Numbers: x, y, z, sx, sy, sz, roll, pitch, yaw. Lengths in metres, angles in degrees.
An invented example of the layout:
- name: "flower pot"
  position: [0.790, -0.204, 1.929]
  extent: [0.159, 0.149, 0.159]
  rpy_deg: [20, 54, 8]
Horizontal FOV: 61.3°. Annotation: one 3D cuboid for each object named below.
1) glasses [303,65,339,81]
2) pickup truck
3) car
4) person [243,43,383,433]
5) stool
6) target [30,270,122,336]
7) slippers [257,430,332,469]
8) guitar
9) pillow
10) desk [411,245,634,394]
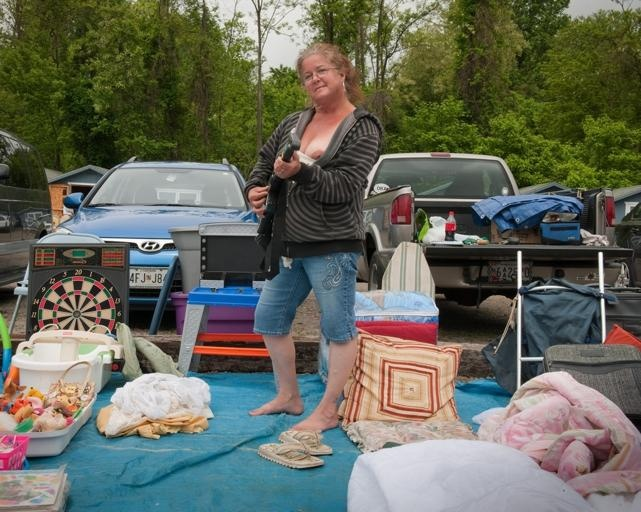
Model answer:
- name: "glasses"
  position: [-0.007, -1.076, 3.207]
  extent: [0.207, 0.086, 0.108]
  rpy_deg: [1, 6, 6]
- name: "pickup truck"
  position: [1.408, -0.392, 5.824]
  extent: [1.801, 1.124, 3.247]
  rpy_deg: [0, 5, -4]
- name: "car"
  position: [-1.761, -0.537, 5.971]
  extent: [1.516, 1.189, 2.493]
  rpy_deg: [0, -4, -9]
- name: "person"
  position: [-0.035, -0.118, 3.315]
  extent: [0.743, 2.341, 0.766]
  rpy_deg: [-3, 6, -29]
- name: "stool"
  position: [-0.714, 0.540, 4.341]
  extent: [0.771, 0.635, 0.726]
  rpy_deg: [2, -4, -3]
- name: "target"
  position: [-1.974, 0.397, 4.304]
  extent: [0.519, 0.465, 0.016]
  rpy_deg: [-7, 1, -4]
- name: "slippers"
  position: [-0.122, 1.033, 2.866]
  extent: [0.209, 0.056, 0.167]
  rpy_deg: [4, 4, 39]
- name: "guitar"
  position: [-0.245, -0.327, 2.966]
  extent: [0.156, 0.626, 0.588]
  rpy_deg: [-1, 6, -13]
- name: "pillow"
  position: [0.485, 0.822, 3.287]
  extent: [0.656, 0.562, 0.185]
  rpy_deg: [4, -14, -7]
- name: "desk"
  position: [1.944, 0.218, 5.030]
  extent: [1.960, 0.690, 2.215]
  rpy_deg: [1, 6, 12]
